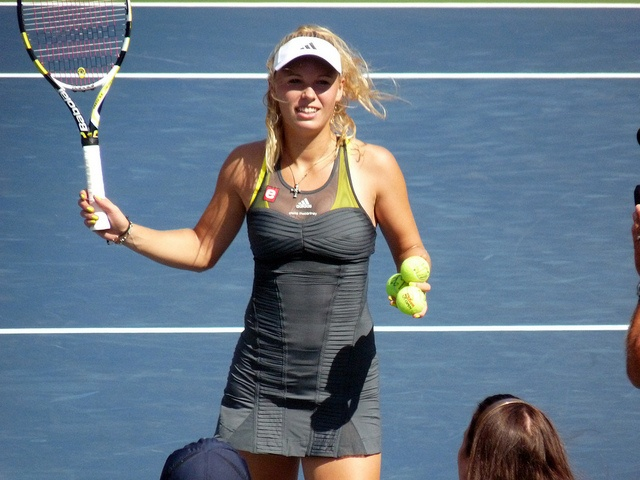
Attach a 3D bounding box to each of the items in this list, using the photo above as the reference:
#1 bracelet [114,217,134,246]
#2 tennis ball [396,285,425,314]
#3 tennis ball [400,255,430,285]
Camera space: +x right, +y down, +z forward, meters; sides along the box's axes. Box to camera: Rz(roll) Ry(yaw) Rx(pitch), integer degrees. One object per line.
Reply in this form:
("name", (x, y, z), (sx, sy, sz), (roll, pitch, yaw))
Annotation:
("bracelet", (-1.528, -0.045, 10.096), (0.072, 0.190, 0.174), (40, -5, -28))
("tennis ball", (0.697, 0.461, 9.826), (0.153, 0.140, 0.166), (-29, -5, -3))
("tennis ball", (0.727, 0.241, 9.823), (0.216, 0.188, 0.202), (0, -1, 0))
